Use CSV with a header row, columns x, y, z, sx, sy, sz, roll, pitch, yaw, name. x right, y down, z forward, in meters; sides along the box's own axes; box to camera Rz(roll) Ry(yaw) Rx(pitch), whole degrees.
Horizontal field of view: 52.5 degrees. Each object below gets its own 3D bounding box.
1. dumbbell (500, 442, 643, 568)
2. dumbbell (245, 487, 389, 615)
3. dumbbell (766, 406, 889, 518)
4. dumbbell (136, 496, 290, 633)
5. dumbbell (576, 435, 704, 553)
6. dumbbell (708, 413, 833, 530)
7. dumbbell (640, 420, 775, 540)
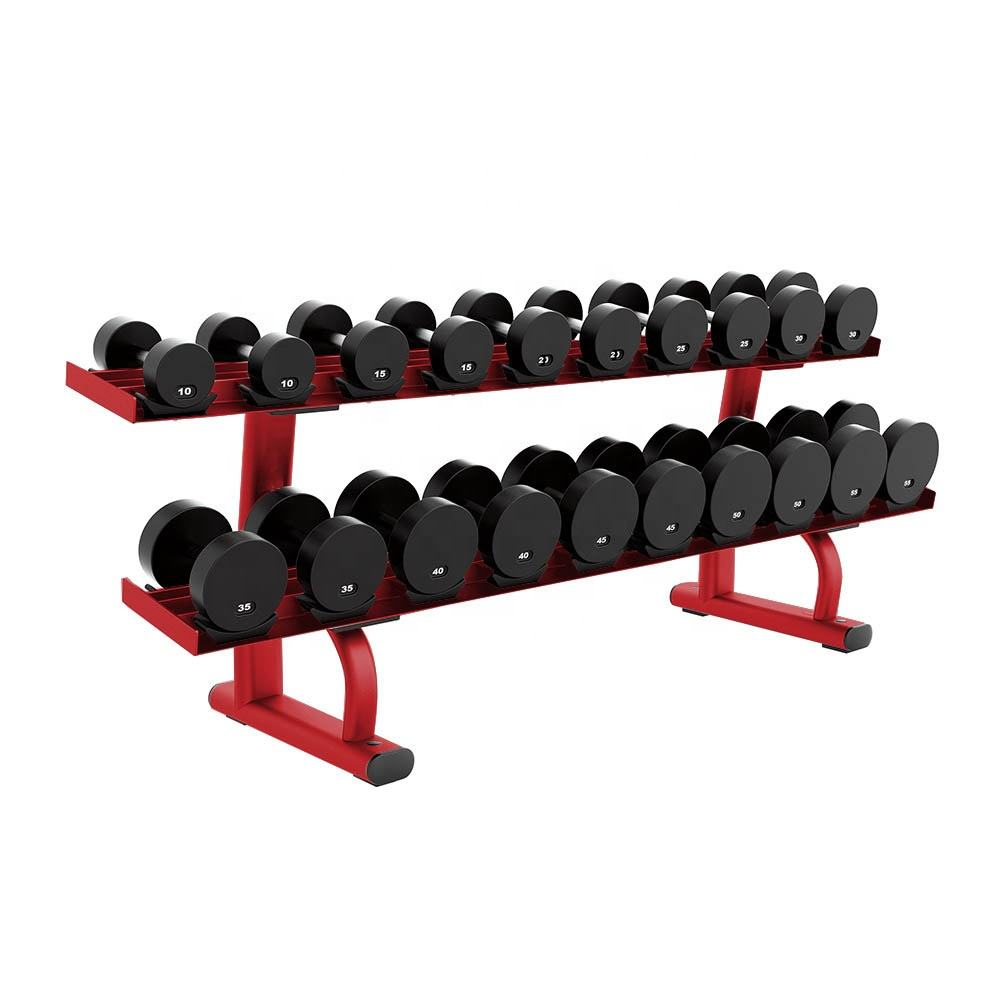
x,y,z,sx,sy,sz,roll,pitch,yaw,name
0.134,0.005,2.014,0.180,0.154,0.263,-5,20,-31,dumbbell
-0.315,0.095,1.685,0.149,0.122,0.230,5,9,-32,dumbbell
0.690,-0.070,2.342,0.348,0.186,0.182,-7,21,-32,dumbbell
-0.459,0.115,1.613,0.162,0.133,0.231,9,7,-34,dumbbell
0.268,0.002,1.983,0.126,0.107,0.267,-5,16,-16,dumbbell
0.581,-0.049,2.196,0.338,0.175,0.162,-1,6,-29,dumbbell
0.422,-0.025,2.086,0.309,0.161,0.156,-4,13,-34,dumbbell
